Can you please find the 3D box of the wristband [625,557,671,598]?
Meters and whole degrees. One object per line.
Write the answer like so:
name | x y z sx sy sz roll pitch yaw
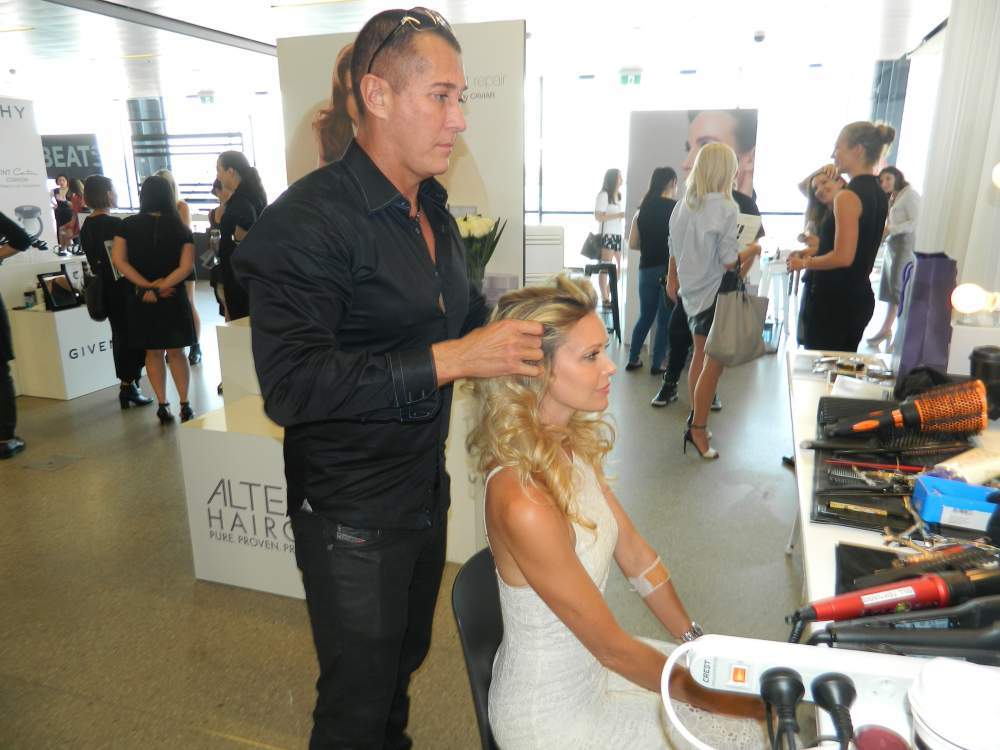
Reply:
wristband | 0.433 0.586 2.177 0.107 0.088 0.110 -23 -19 -49

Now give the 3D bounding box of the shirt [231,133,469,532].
shirt | -0.335 -0.089 1.951 0.644 1.004 0.462 -8 16 -27

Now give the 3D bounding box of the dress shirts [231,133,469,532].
dress shirts | -0.334 -0.089 1.952 0.647 1.004 0.462 -8 16 -27
